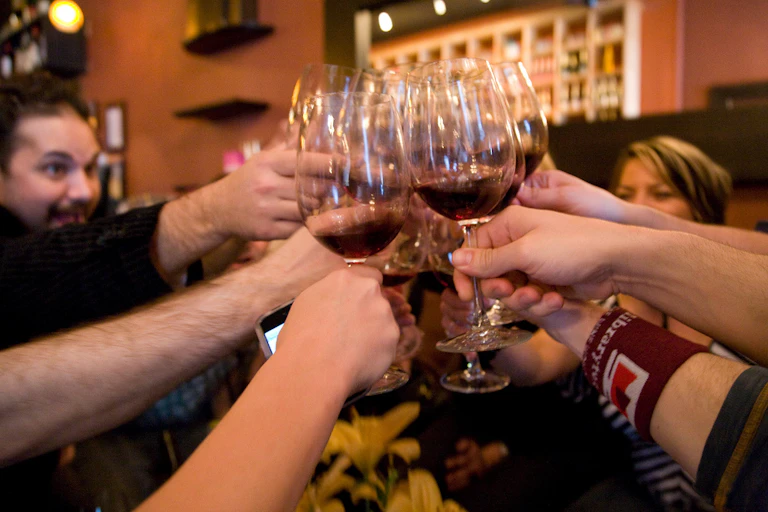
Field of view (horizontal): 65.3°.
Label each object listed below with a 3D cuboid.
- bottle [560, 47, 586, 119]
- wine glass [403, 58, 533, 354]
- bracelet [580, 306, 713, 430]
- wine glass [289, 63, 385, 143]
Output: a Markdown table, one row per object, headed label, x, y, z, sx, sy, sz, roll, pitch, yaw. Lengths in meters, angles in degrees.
| label | x | y | z | sx | sy | sz | roll | pitch | yaw |
| --- | --- | --- | --- | --- | --- | --- | --- | --- | --- |
| bottle | 1.925 | -1.757 | 6.151 | 0.242 | 0.653 | 0.272 | 0 | 17 | 26 |
| wine glass | 0.202 | -0.107 | 1.476 | 0.259 | 0.717 | 0.280 | -1 | 17 | 25 |
| bracelet | 0.551 | 0.241 | 1.337 | 0.238 | 0.205 | 0.256 | 31 | 4 | 42 |
| wine glass | -0.132 | -0.447 | 1.661 | 0.231 | 0.240 | 0.241 | 1 | -1 | -3 |
